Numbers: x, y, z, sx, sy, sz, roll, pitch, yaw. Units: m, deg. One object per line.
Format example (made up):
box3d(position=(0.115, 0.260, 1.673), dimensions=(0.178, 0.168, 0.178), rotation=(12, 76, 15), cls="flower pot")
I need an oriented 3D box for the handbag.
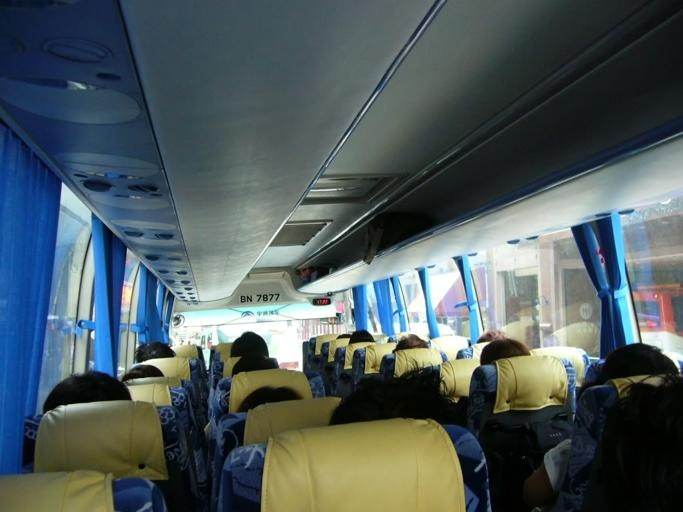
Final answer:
box3d(position=(0.708, -0.344, 5.758), dimensions=(0.693, 0.261, 0.713), rotation=(-5, -18, -3), cls="handbag")
